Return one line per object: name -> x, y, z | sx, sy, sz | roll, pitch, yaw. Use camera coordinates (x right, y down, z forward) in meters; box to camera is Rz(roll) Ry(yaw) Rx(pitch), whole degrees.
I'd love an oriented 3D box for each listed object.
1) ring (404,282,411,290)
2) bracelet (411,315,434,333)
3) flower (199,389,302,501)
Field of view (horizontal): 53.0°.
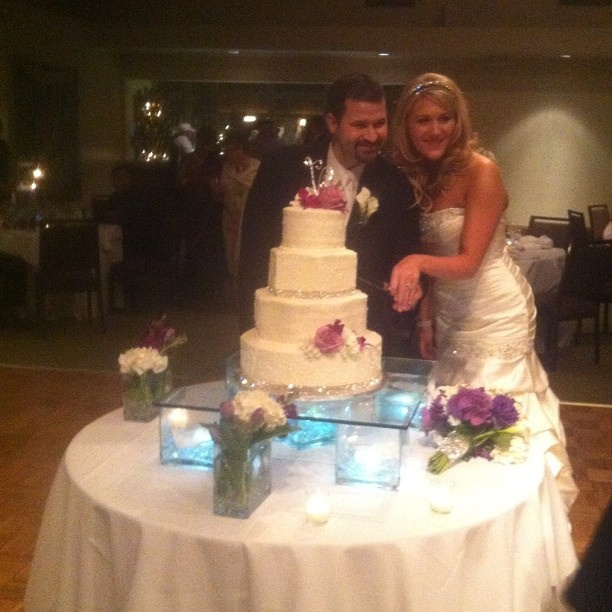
ring -> 0.365, -0.071, 2.219 | 0.023, 0.013, 0.035 | 1, 5, 5
bracelet -> 0.568, 0.085, 2.976 | 0.078, 0.061, 0.083 | 0, -1, 7
flower -> -0.150, 0.331, 1.605 | 0.235, 0.290, 0.245 | 1, 0, -10
